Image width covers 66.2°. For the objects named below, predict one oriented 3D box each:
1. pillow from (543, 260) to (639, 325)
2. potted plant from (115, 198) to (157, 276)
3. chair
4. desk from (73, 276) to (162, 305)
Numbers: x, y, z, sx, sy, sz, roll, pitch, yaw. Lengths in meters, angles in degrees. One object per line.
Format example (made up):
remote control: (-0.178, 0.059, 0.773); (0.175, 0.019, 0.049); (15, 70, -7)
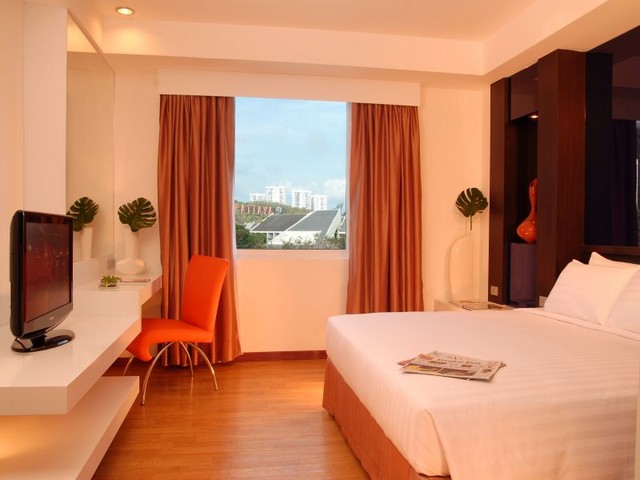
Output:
pillow: (1.938, 0.384, 3.531); (0.115, 0.412, 0.432); (26, -1, -15)
potted plant: (-1.715, -0.038, 4.542); (0.354, 0.718, 0.320); (2, -6, -6)
chair: (-1.255, 0.697, 4.162); (0.775, 1.102, 0.717); (2, 1, -27)
desk: (-1.653, 0.409, 4.127); (0.454, 0.183, 0.867); (0, 8, -6)
